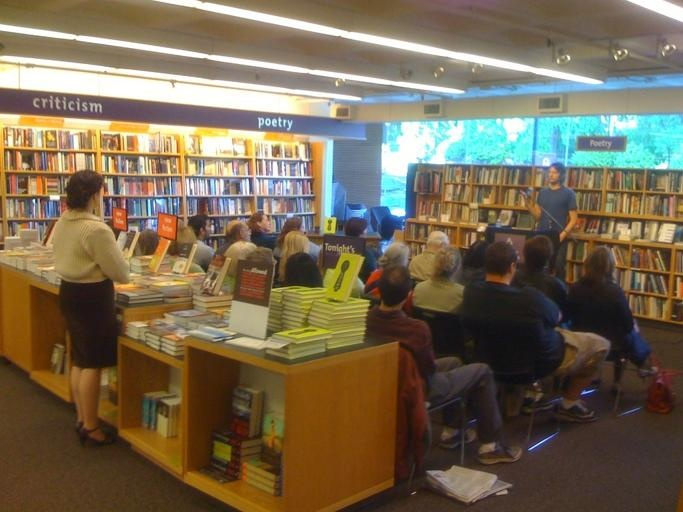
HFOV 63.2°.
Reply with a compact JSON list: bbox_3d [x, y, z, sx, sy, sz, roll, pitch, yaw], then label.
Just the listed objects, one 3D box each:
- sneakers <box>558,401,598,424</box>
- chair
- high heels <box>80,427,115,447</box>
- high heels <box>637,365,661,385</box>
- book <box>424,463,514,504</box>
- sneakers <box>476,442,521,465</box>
[{"bbox_3d":[2.059,1.373,4.967,0.397,0.200,0.156,-1,6,-8],"label":"sneakers"},{"bbox_3d":[0.968,0.889,4.039,1.354,1.534,1.080,-4,4,-34],"label":"chair"},{"bbox_3d":[-1.955,1.429,4.433,0.263,0.130,0.139,-1,8,-20],"label":"high heels"},{"bbox_3d":[3.004,1.150,5.403,0.221,0.136,0.248,24,-2,30],"label":"high heels"},{"bbox_3d":[0.896,1.594,3.937,0.549,0.075,0.380,-5,13,-24],"label":"book"},{"bbox_3d":[1.212,1.491,4.300,0.319,0.137,0.153,-4,4,-13],"label":"sneakers"}]
